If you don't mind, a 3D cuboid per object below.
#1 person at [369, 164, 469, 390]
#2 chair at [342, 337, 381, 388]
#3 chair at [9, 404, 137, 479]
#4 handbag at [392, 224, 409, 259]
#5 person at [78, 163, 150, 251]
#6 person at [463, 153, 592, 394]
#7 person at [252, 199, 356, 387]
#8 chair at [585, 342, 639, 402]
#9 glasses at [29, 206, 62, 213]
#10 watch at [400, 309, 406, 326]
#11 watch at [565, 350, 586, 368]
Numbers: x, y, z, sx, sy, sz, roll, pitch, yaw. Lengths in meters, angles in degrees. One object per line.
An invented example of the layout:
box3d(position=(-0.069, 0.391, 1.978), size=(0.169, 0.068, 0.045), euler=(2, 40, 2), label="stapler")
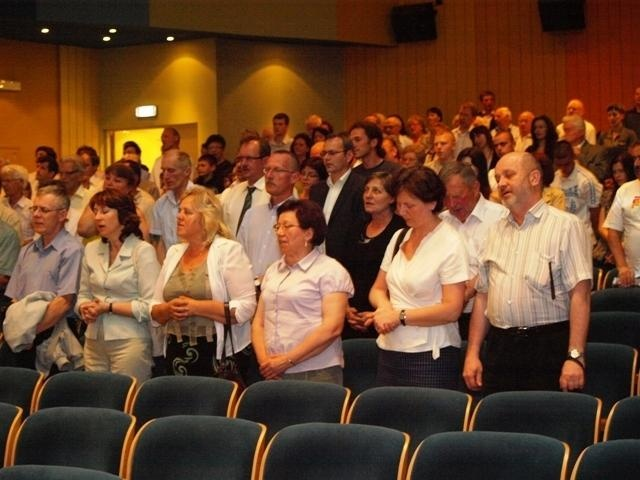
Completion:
box3d(position=(0.585, 0.216, 3.752), size=(0.585, 1.309, 0.434), euler=(-1, 4, 7), label="person")
box3d(position=(0.287, 0.844, 4.327), size=(0.248, 0.350, 0.287), euler=(0, -3, 6), label="chair")
box3d(position=(-1.217, 0.962, 3.244), size=(0.378, 0.544, 0.455), euler=(0, -10, 6), label="chair")
box3d(position=(0.500, 0.001, 3.910), size=(0.097, 0.173, 0.159), euler=(10, 43, 28), label="handbag")
box3d(position=(-1.922, -0.175, 5.909), size=(0.637, 1.134, 0.578), euler=(1, 7, -39), label="person")
box3d(position=(1.159, 0.199, 3.527), size=(0.676, 1.387, 0.315), euler=(0, 5, 25), label="person")
box3d(position=(-0.117, 0.336, 3.899), size=(0.628, 1.165, 0.393), euler=(-2, 4, -7), label="person")
box3d(position=(1.736, 0.799, 3.829), size=(0.281, 0.409, 0.326), euler=(-1, -4, 28), label="chair")
box3d(position=(-2.140, -0.241, 4.913), size=(0.143, 0.045, 0.156), euler=(-2, -7, 32), label="glasses")
box3d(position=(0.476, 0.442, 3.604), size=(0.044, 0.073, 0.067), euler=(-8, -30, 2), label="watch")
box3d(position=(1.361, 0.628, 3.350), size=(0.081, 0.104, 0.061), euler=(0, 5, 26), label="watch")
